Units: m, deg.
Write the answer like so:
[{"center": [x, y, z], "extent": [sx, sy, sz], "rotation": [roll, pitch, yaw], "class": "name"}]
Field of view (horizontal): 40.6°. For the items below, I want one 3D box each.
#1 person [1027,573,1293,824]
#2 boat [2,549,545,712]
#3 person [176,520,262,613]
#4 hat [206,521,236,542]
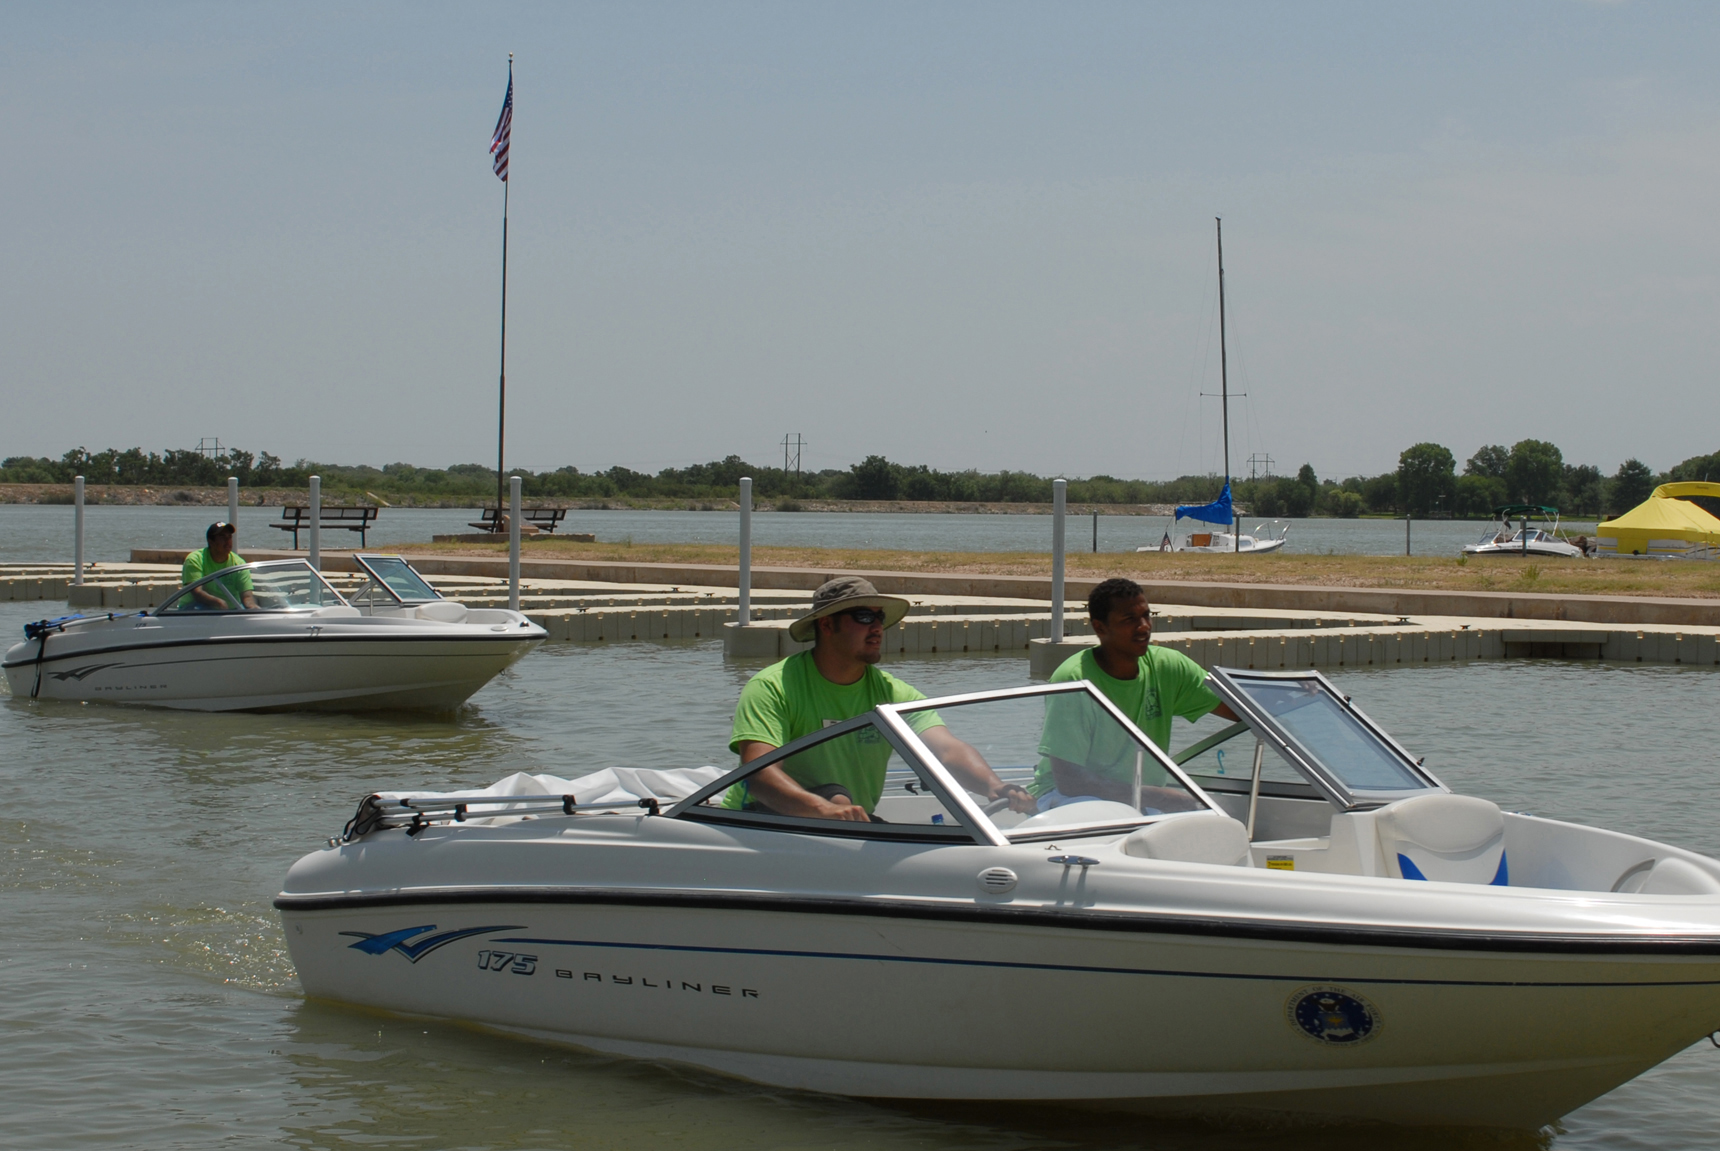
[{"center": [1.612, 0.717, 12.800], "extent": [1.608, 1.290, 1.110], "rotation": [0, 5, 5], "class": "person"}, {"center": [-5.505, 0.664, 21.717], "extent": [4.229, 1.171, 1.965], "rotation": [-1, 4, 0], "class": "boat"}, {"center": [-5.800, -0.134, 21.243], "extent": [0.780, 0.851, 0.559], "rotation": [10, 11, 36], "class": "person"}, {"center": [-5.704, -0.441, 21.003], "extent": [0.263, 0.136, 0.171], "rotation": [-22, -4, 35], "class": "hat"}]
